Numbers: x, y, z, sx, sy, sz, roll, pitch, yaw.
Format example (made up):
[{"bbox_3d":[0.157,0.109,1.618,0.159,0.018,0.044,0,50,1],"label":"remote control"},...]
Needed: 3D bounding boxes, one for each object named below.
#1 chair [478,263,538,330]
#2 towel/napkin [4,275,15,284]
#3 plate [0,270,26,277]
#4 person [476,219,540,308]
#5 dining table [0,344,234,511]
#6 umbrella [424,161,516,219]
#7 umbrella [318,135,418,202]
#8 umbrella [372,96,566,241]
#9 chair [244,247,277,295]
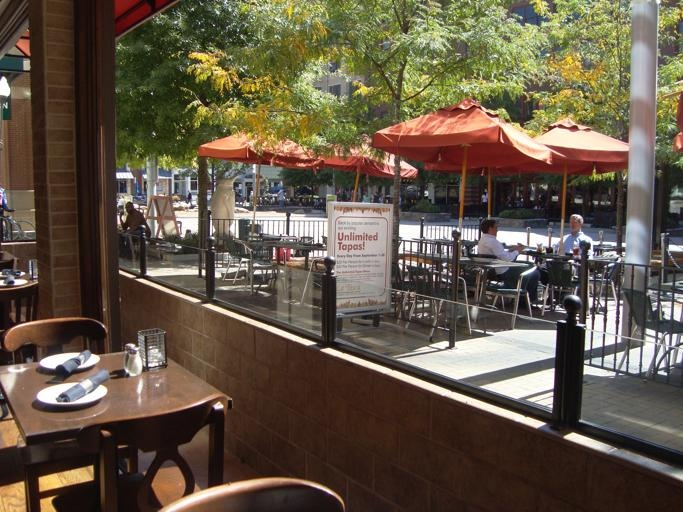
[{"bbox_3d":[1.738,0.383,6.740,0.399,0.620,0.515,-4,8,-28],"label":"chair"},{"bbox_3d":[-3.549,0.263,6.898,0.062,0.087,0.196,-4,1,-40],"label":"towel/napkin"},{"bbox_3d":[-3.807,0.211,7.589,0.173,0.072,0.260,1,-3,-5],"label":"plate"},{"bbox_3d":[2.292,0.096,8.843,0.704,1.341,0.585,-11,5,-6],"label":"person"},{"bbox_3d":[-1.475,0.957,4.178,0.992,1.068,1.043,-5,20,-28],"label":"dining table"},{"bbox_3d":[6.140,-2.925,30.184,3.468,3.403,3.751,1,6,-5],"label":"umbrella"},{"bbox_3d":[0.312,-1.758,11.946,1.181,1.039,1.348,3,9,10],"label":"umbrella"},{"bbox_3d":[1.674,-1.461,8.339,2.046,1.743,2.084,-12,22,-39],"label":"umbrella"},{"bbox_3d":[-0.738,0.163,5.977,0.303,0.489,0.307,-1,3,-36],"label":"chair"}]
